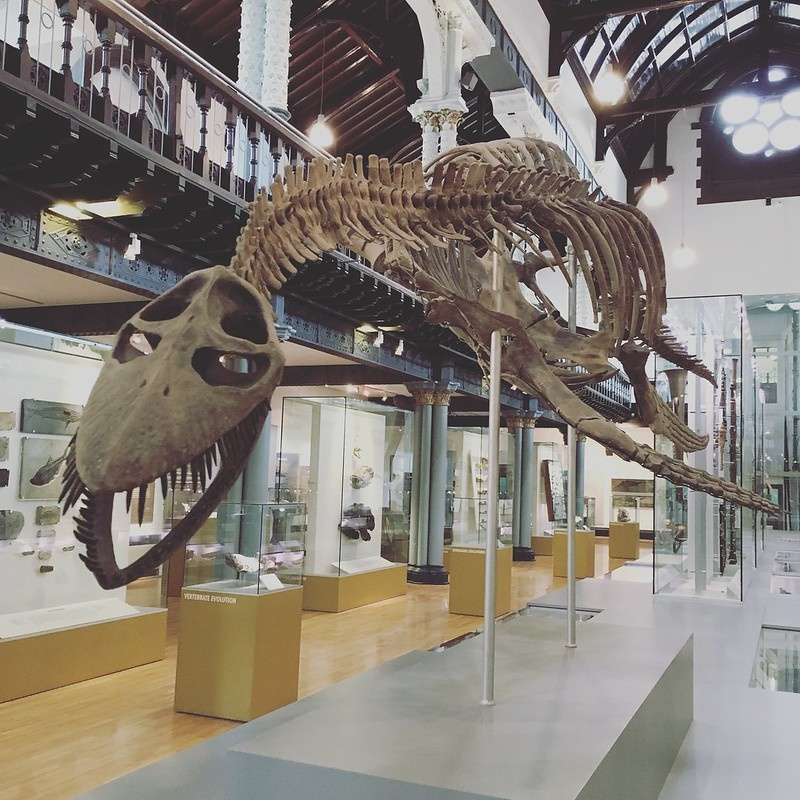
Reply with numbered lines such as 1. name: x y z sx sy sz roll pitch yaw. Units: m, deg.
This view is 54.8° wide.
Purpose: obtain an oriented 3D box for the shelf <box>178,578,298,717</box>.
1. shelf: -1.134 1.525 5.179 0.553 0.852 0.793 4 10 2

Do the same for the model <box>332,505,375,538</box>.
1. model: -0.526 1.490 9.263 0.114 0.454 0.366 2 -2 45

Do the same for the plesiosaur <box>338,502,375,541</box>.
1. plesiosaur: -0.564 1.497 9.315 0.156 0.516 0.324 6 21 38

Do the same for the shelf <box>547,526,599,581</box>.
1. shelf: 2.717 2.602 12.717 0.542 0.687 0.565 -4 -11 41

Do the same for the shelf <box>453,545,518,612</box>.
1. shelf: 0.845 2.133 8.952 0.456 0.728 0.690 1 -15 12
